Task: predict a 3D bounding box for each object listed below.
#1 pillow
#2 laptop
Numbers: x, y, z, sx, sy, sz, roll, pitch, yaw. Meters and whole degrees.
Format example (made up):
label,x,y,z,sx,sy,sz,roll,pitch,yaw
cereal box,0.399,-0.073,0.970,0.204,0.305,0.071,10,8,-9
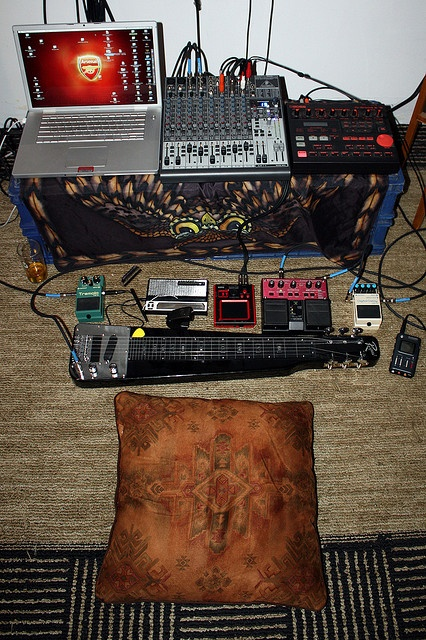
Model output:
label,x,y,z,sx,sy,sz,roll,pitch,yaw
pillow,0.006,0.630,1.777,0.751,0.363,0.609,2,36,1
laptop,-0.523,-0.915,2.032,0.603,0.542,0.321,-1,35,-3
